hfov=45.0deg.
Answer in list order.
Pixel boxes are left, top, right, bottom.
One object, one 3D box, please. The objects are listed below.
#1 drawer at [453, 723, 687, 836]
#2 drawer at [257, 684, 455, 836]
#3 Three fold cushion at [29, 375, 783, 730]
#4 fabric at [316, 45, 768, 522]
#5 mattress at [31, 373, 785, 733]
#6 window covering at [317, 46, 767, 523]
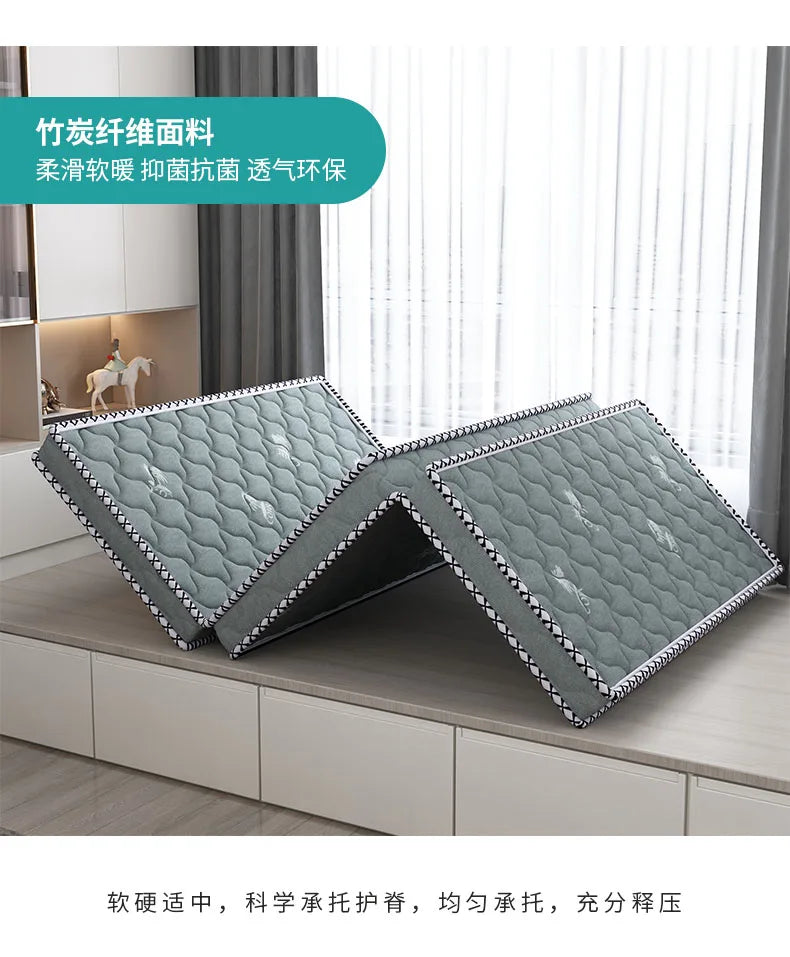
[{"bbox_3d":[0.359,0.569,1.895,0.423,0.205,0.258,7,7,38],"label":"drawer"},{"bbox_3d":[-0.082,0.602,2.050,0.437,0.217,0.300,6,7,29],"label":"drawer"},{"bbox_3d":[-0.064,0.097,2.290,1.272,0.392,1.085,9,14,23],"label":"Three fold cushion"},{"bbox_3d":[0.586,-0.762,3.417,1.828,1.759,0.083,12,23,36],"label":"fabric"},{"bbox_3d":[-0.076,0.090,2.293,1.280,0.392,1.080,9,14,23],"label":"mattress"},{"bbox_3d":[0.569,-0.872,3.779,1.553,1.472,0.067,7,1,24],"label":"window covering"}]
